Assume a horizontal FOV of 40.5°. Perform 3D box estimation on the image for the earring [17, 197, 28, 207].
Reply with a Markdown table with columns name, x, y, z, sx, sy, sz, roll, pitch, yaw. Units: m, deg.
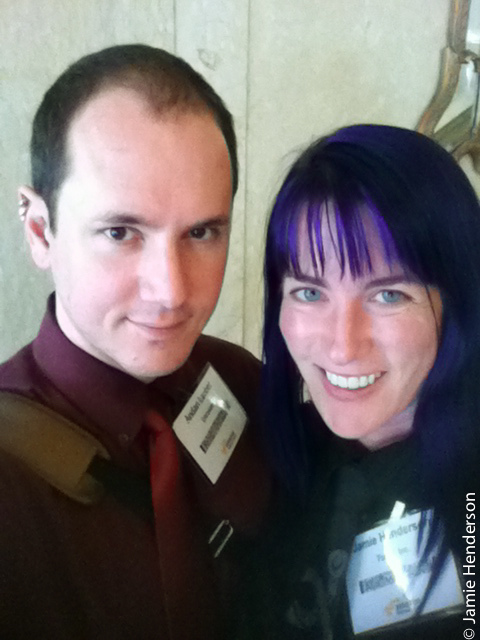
| name | x | y | z | sx | sy | sz | roll | pitch | yaw |
| --- | --- | --- | --- | --- | --- | --- | --- | --- | --- |
| earring | -0.449 | -0.245 | 1.350 | 0.007 | 0.017 | 0.030 | -26 | 23 | -39 |

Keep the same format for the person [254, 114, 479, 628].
| name | x | y | z | sx | sy | sz | roll | pitch | yaw |
| --- | --- | --- | --- | --- | --- | --- | --- | --- | --- |
| person | 0.243 | 0.124 | 1.363 | 0.505 | 1.005 | 0.429 | -2 | 20 | 25 |
